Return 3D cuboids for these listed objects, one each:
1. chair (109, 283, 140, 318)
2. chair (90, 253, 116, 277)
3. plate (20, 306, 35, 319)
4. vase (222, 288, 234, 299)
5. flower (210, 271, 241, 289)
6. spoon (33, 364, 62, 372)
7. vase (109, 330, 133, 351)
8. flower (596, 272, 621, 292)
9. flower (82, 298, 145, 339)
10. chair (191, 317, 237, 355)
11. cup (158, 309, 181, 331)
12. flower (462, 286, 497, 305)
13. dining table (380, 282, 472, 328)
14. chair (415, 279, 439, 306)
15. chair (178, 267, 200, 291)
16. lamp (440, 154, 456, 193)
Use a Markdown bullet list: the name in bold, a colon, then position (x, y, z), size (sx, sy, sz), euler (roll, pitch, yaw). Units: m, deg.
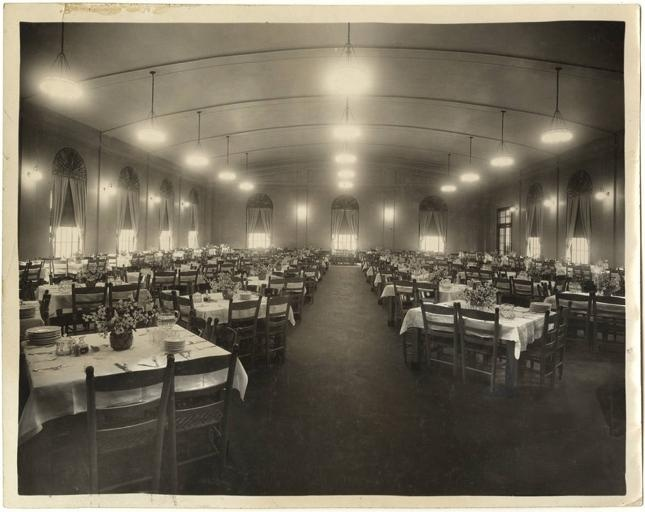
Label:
- **chair**: position (-2.703, 0.591, 7.573), size (0.312, 0.600, 0.357), euler (1, 3, -23)
- **chair**: position (-4.854, 0.189, 12.298), size (0.425, 0.785, 0.409), euler (4, 5, 1)
- **plate**: position (-3.919, 0.739, 7.393), size (0.174, 0.178, 0.168), euler (-1, 0, -31)
- **vase**: position (-1.455, 0.562, 8.525), size (0.161, 0.217, 0.172), euler (0, 2, -18)
- **flower**: position (-1.552, 0.403, 8.795), size (0.353, 0.443, 0.461), euler (-1, 0, 0)
- **spoon**: position (-2.925, 1.181, 5.899), size (0.244, 0.053, 0.037), euler (-1, 28, -15)
- **vase**: position (-2.281, 0.958, 6.316), size (0.204, 0.234, 0.223), euler (1, 3, -5)
- **flower**: position (4.895, 0.445, 9.549), size (0.246, 0.253, 0.337), euler (-3, 5, 7)
- **flower**: position (-2.385, 0.693, 6.457), size (0.732, 0.476, 0.608), euler (-3, 15, -27)
- **chair**: position (-1.341, 0.956, 6.770), size (0.378, 0.776, 0.457), euler (1, -10, 0)
- **cup**: position (-1.827, 0.754, 6.638), size (0.211, 0.194, 0.211), euler (-1, -1, 0)
- **flower**: position (2.252, 0.565, 7.986), size (0.281, 0.201, 0.312), euler (-1, -1, 10)
- **dining table**: position (1.887, 0.756, 9.982), size (0.938, 0.532, 0.964), euler (-2, 3, -31)
- **chair**: position (1.783, 0.619, 9.540), size (0.366, 0.652, 0.396), euler (0, -7, -3)
- **chair**: position (-2.568, 0.443, 10.695), size (0.314, 0.629, 0.366), euler (1, 12, -18)
- **lamp**: position (5.122, -3.467, 22.709), size (0.672, 1.809, 0.745), euler (-2, -18, 19)
